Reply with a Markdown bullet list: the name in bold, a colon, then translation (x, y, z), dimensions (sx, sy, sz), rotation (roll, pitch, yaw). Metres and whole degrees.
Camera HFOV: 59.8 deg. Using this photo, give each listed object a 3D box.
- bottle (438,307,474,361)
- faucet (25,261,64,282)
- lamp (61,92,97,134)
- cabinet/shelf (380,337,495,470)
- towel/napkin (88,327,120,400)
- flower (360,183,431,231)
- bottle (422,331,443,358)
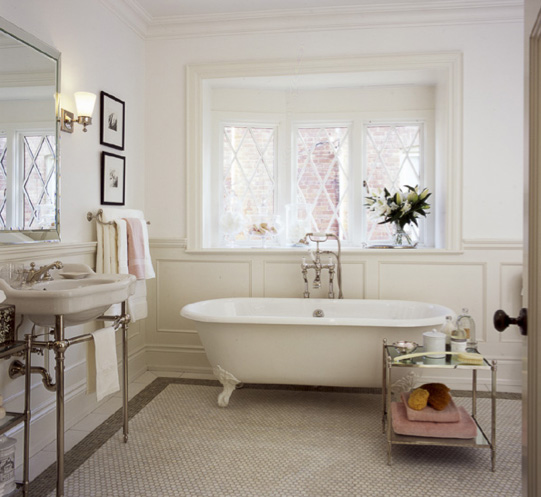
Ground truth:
- **bottle**: translation (1.180, 0.539, 2.904), dimensions (0.280, 0.313, 0.236), rotation (0, -2, -11)
- **faucet**: translation (-1.298, 0.133, 2.689), dimensions (0.127, 0.065, 0.129), rotation (-1, 3, 6)
- **lamp**: translation (-1.244, -0.892, 3.130), dimensions (0.200, 0.274, 0.341), rotation (0, 6, 0)
- **cabinet/shelf**: translation (0.941, 0.880, 2.930), dimensions (0.644, 0.665, 0.713), rotation (0, -2, 8)
- **towel/napkin**: translation (-0.897, 0.611, 2.520), dimensions (0.128, 0.347, 0.244), rotation (1, 6, 9)
- **flower**: translation (1.136, -0.365, 4.237), dimensions (0.506, 0.426, 0.467), rotation (0, -1, -2)
- **bottle**: translation (0.930, 0.556, 2.725), dimensions (0.126, 0.138, 0.120), rotation (3, -2, -31)
